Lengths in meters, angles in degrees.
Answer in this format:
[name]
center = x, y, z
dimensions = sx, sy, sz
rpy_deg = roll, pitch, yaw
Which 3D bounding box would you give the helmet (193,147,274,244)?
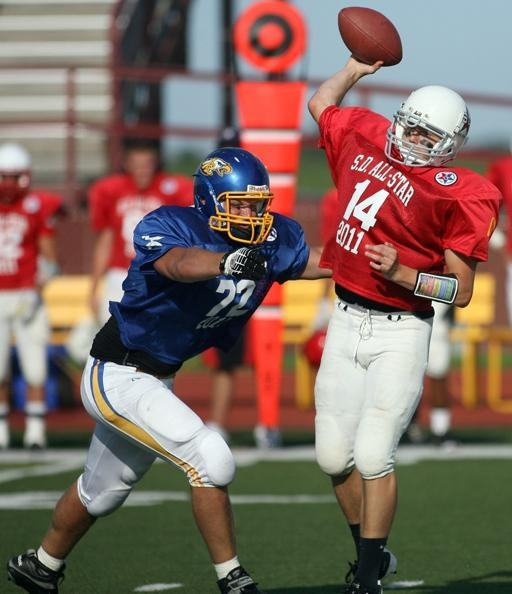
[helmet]
center = -0.075, -0.353, 2.954
dimensions = 0.255, 0.218, 0.327
rpy_deg = -11, 28, -43

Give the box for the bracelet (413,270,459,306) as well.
[bracelet]
center = 0.579, -0.030, 2.936
dimensions = 0.137, 0.131, 0.148
rpy_deg = 5, 22, 10
